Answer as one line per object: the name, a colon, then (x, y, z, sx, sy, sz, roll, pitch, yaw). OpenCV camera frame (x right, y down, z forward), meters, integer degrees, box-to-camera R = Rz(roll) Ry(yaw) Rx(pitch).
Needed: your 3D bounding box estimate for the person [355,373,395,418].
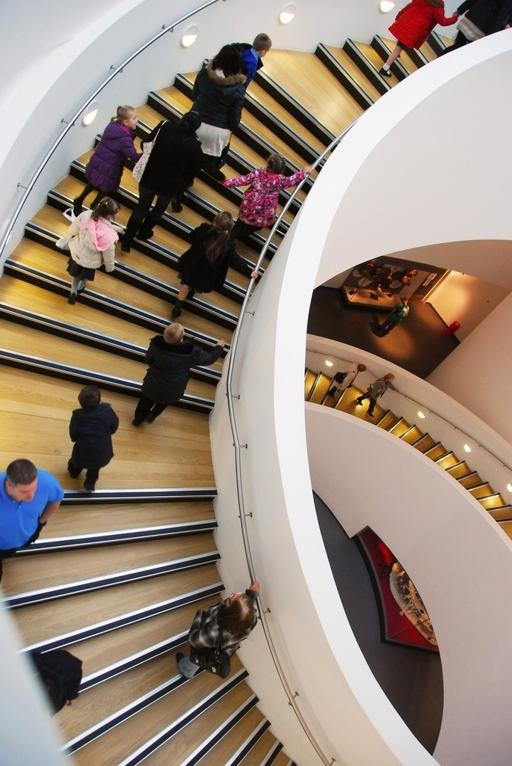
person: (3.040, 0.312, 12.610, 0.357, 0.992, 0.423, -26, 83, -33)

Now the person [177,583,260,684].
person: (-0.437, 2.442, 4.855, 0.486, 1.550, 0.722, 10, 33, -13)

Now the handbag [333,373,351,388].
handbag: (2.080, -0.075, 11.962, 0.233, 0.395, 0.359, 10, -14, 5)

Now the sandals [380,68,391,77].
sandals: (2.363, -5.695, 9.034, 0.191, 0.100, 0.075, 32, -20, -28)

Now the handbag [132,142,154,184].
handbag: (-1.229, -2.378, 5.262, 0.107, 0.450, 0.308, 20, 23, -21)

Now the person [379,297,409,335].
person: (4.399, -2.074, 15.906, 0.524, 0.912, 1.417, 32, 22, 8)
